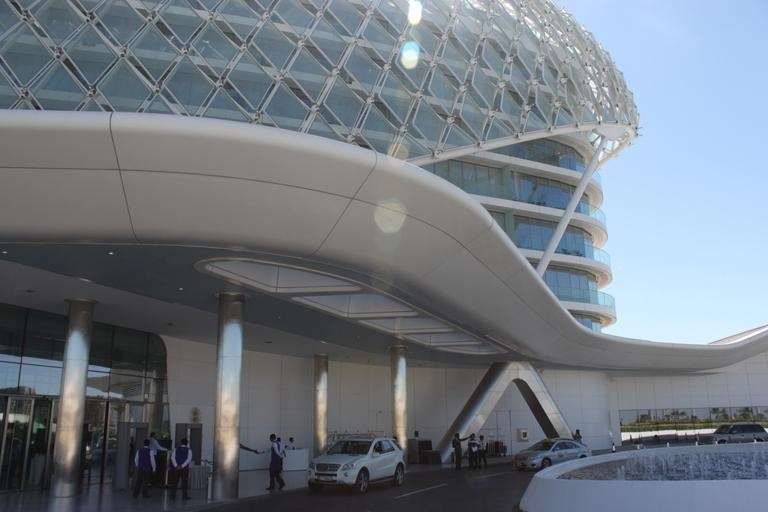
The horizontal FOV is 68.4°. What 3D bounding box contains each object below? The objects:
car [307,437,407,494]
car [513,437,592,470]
[{"bbox_3d":[-0.817,8.001,21.897,1.909,1.474,3.427,-10,-23,26],"label":"car"},{"bbox_3d":[8.132,9.706,27.897,3.676,1.438,1.472,7,-22,-25],"label":"car"}]
